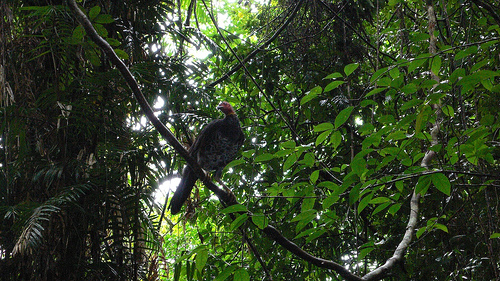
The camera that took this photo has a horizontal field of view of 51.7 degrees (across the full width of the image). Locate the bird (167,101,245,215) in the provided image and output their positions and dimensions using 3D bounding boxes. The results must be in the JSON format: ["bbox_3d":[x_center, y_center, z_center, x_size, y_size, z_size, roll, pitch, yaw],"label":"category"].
[{"bbox_3d":[-0.522,0.323,6.998,0.844,1.891,1.145,14,-43,-16],"label":"bird"}]
